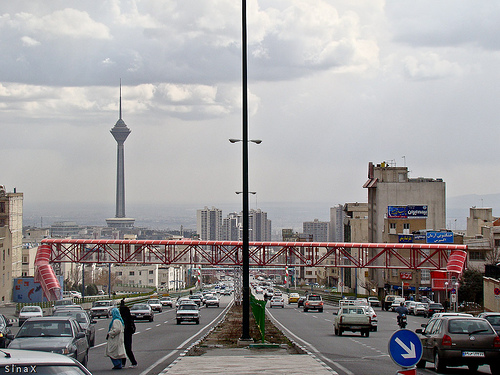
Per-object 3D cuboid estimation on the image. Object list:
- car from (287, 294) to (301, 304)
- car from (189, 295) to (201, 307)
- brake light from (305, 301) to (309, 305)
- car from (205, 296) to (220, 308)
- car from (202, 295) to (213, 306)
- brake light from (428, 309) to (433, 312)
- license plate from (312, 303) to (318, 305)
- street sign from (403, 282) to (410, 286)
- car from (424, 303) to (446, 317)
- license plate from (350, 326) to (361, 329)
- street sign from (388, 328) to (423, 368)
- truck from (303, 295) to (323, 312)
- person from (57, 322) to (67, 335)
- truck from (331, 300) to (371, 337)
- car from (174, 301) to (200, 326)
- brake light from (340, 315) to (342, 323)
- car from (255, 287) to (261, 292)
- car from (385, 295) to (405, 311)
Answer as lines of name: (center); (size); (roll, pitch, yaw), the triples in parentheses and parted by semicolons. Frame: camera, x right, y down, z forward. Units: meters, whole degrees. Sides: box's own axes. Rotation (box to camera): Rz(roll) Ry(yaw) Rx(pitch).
car: (5.895, 15.408, 139.279); (1.109, 0.940, 2.008); (1, 2, 0)
car: (-6.378, 13.332, 121.245); (0.930, 0.738, 2.141); (0, -9, 1)
brake light: (6.234, 12.666, 111.573); (0.300, 0.353, 0.448); (0, -2, -6)
car: (-4.640, 14.178, 126.016); (1.334, 1.046, 2.373); (-1, -8, -3)
car: (-5.287, 14.217, 128.034); (1.282, 1.114, 2.183); (0, -7, -3)
brake light: (17.910, 12.346, 102.216); (0.272, 0.087, 0.284); (1, -1, 15)
license plate: (7.048, 12.761, 111.481); (0.647, 0.163, 0.119); (0, -2, -4)
street sign: (22.909, 14.396, 150.814); (0.321, 0.412, 1.565); (0, -3, -16)
car: (18.367, 12.431, 102.141); (1.661, 1.418, 4.323); (0, -3, 2)
license plate: (7.832, 10.488, 76.396); (0.792, 0.185, 0.062); (0, -2, 5)
street sign: (8.046, 8.457, 53.571); (1.625, 2.013, 0.786); (0, -2, 1)
truck: (6.913, 12.874, 112.788); (2.064, 2.230, 4.533); (1, 2, 1)
person: (-11.053, 8.417, 60.623); (0.416, 0.821, 0.678); (-1, 0, -4)
truck: (7.698, 10.086, 77.072); (2.562, 2.229, 1.799); (-1, -2, 9)
car: (-5.432, 11.192, 90.038); (2.100, 1.707, 4.616); (-1, -6, -2)
brake light: (6.773, 9.923, 76.534); (0.122, 0.464, 0.202); (0, -2, -4)
car: (1.688, 21.954, 218.512); (1.503, 0.856, 2.641); (1, 1, 1)
car: (16.982, 13.844, 121.367); (2.090, 1.321, 1.414); (-2, 1, 4)
